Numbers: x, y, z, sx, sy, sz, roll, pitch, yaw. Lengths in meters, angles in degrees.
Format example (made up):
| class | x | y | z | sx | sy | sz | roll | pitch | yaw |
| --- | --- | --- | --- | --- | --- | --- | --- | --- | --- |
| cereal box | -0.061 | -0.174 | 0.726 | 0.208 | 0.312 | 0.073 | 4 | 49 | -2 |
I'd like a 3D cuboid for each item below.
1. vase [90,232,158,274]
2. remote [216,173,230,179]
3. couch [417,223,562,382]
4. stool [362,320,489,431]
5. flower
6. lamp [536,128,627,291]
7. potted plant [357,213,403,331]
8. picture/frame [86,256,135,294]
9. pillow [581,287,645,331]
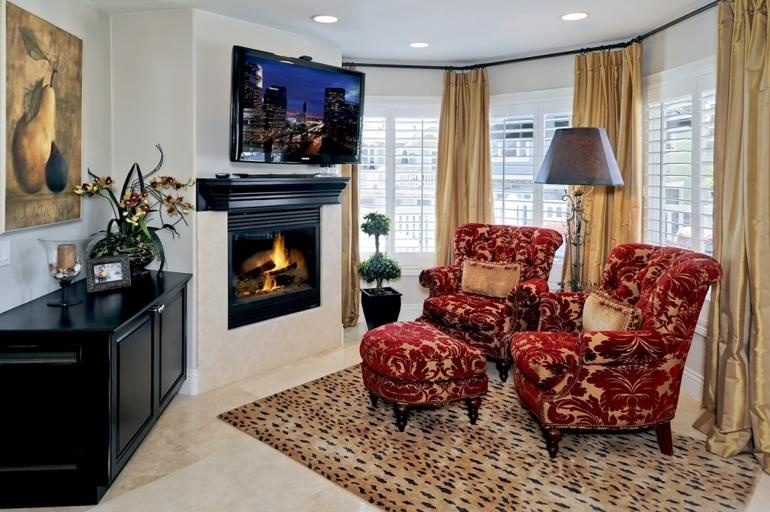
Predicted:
| class | x | y | z | sx | sy | sz | roll | pitch | yaw |
| --- | --- | --- | --- | --- | --- | --- | --- | --- | --- |
| vase | -1.937 | -0.054 | 4.108 | 0.394 | 0.256 | 0.375 | -1 | 3 | -15 |
| remote | -1.334 | -0.664 | 4.474 | 0.114 | 0.042 | 0.202 | -2 | 10 | -17 |
| couch | 0.946 | 0.296 | 5.468 | 1.389 | 1.521 | 1.398 | 5 | 5 | 39 |
| stool | 0.284 | 0.980 | 4.330 | 0.869 | 0.593 | 0.878 | 0 | -3 | -4 |
| flower | -2.105 | -0.320 | 4.491 | 1.071 | 1.099 | 0.962 | 2 | 1 | 3 |
| lamp | 1.744 | -0.541 | 4.950 | 0.647 | 1.338 | 0.640 | -30 | 34 | -29 |
| potted plant | -0.059 | 0.147 | 5.708 | 0.423 | 1.198 | 0.777 | 0 | 9 | -3 |
| picture/frame | -1.960 | 0.138 | 3.859 | 0.265 | 0.213 | 0.020 | -3 | 0 | -40 |
| pillow | 1.624 | 0.469 | 4.015 | 0.145 | 0.281 | 0.455 | 6 | 11 | -19 |
